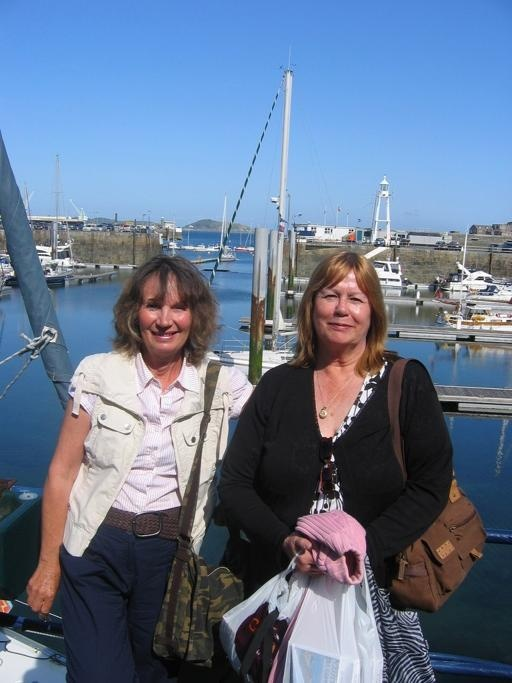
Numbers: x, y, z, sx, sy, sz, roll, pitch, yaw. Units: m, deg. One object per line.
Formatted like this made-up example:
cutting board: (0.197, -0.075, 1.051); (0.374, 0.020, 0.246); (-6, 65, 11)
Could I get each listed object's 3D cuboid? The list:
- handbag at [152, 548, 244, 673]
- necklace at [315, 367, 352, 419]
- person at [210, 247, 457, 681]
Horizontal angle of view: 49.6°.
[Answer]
handbag: (-0.188, 0.813, 1.671); (0.178, 0.264, 0.339); (-19, 44, 29)
necklace: (0.217, 0.153, 1.587); (0.081, 0.042, 0.167); (-1, 56, 19)
person: (0.222, 0.295, 1.584); (0.636, 1.067, 0.447); (5, 13, 25)
